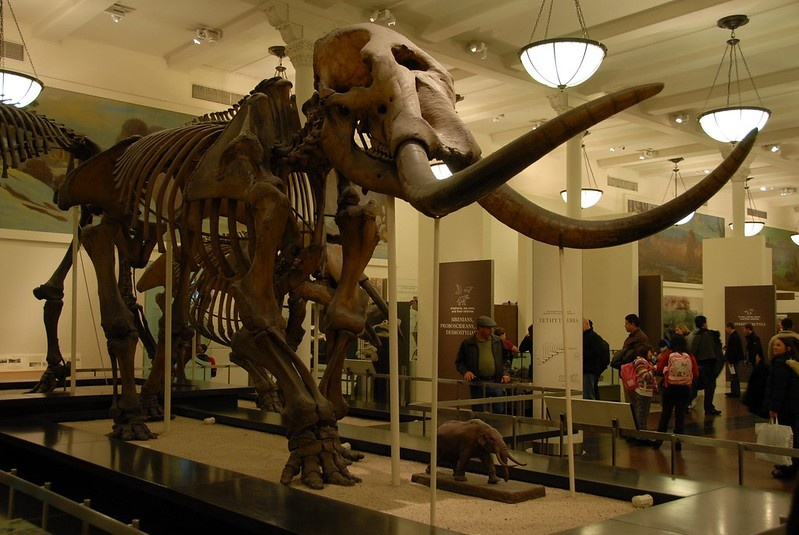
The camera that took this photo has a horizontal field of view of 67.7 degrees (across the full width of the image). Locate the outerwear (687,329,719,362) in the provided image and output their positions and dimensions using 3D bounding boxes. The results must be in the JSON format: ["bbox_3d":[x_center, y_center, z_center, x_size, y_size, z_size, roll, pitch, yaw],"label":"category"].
[{"bbox_3d":[6.052,1.558,11.891,0.701,0.686,0.431,1,5,29],"label":"outerwear"}]

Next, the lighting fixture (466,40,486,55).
[{"bbox_3d":[1.505,-4.262,11.511,0.269,0.192,0.266,-6,5,-33],"label":"lighting fixture"}]

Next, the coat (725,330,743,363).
[{"bbox_3d":[8.340,1.958,14.842,0.393,0.815,0.895,-2,0,43],"label":"coat"}]

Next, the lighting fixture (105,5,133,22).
[{"bbox_3d":[-5.430,-4.985,11.580,0.461,0.324,0.449,5,-5,-30],"label":"lighting fixture"}]

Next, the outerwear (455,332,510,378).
[{"bbox_3d":[1.316,1.435,9.620,1.005,0.976,0.585,0,-8,-10],"label":"outerwear"}]
